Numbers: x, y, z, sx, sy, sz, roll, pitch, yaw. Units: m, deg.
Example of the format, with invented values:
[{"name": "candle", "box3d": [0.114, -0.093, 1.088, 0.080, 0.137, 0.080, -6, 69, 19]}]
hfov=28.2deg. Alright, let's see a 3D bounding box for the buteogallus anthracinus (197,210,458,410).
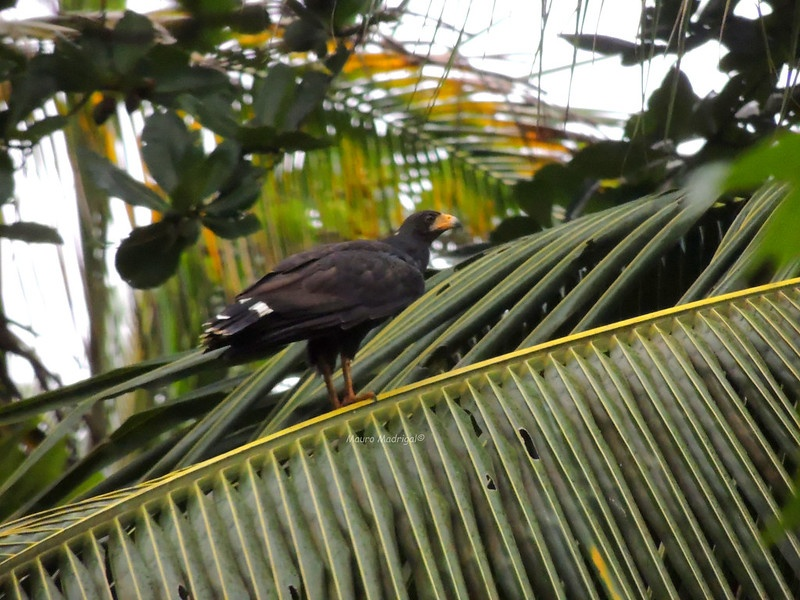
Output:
[{"name": "buteogallus anthracinus", "box3d": [-0.411, 0.020, 8.763, 1.477, 1.196, 0.611, 7, -15, -34]}]
